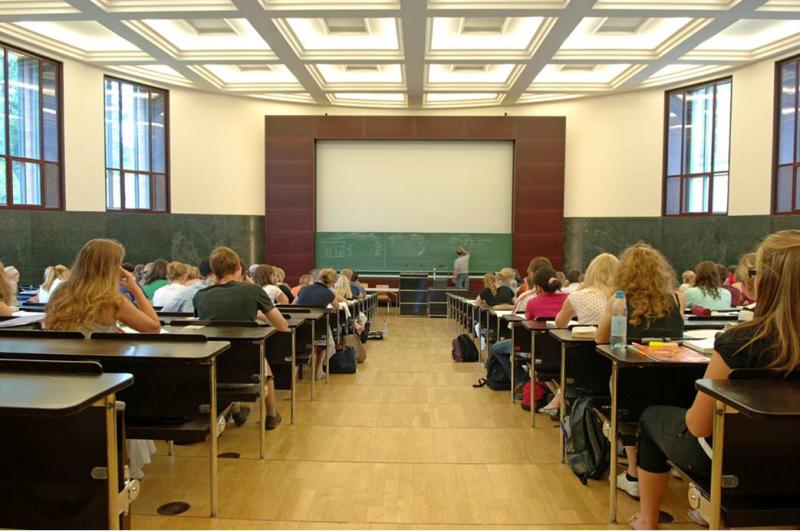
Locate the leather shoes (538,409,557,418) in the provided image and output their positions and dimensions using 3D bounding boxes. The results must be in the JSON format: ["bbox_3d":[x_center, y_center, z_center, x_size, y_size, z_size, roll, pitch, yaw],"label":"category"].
[{"bbox_3d":[1.554,1.549,6.658,0.196,0.064,0.068,1,-4,16],"label":"leather shoes"}]

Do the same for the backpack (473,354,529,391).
[{"bbox_3d":[1.220,1.275,7.459,0.417,0.174,0.552,0,0,-7],"label":"backpack"}]

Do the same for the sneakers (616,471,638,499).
[{"bbox_3d":[1.902,1.826,5.271,0.103,0.106,0.256,0,2,0],"label":"sneakers"}]

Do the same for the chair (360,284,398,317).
[{"bbox_3d":[-0.483,0.818,14.949,0.923,0.776,0.668,0,-6,-1],"label":"chair"}]

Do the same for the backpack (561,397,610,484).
[{"bbox_3d":[1.628,1.533,5.498,0.414,0.647,0.708,-3,2,-1],"label":"backpack"}]

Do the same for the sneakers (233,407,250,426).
[{"bbox_3d":[-1.620,1.521,6.450,0.108,0.159,0.238,0,12,7],"label":"sneakers"}]
